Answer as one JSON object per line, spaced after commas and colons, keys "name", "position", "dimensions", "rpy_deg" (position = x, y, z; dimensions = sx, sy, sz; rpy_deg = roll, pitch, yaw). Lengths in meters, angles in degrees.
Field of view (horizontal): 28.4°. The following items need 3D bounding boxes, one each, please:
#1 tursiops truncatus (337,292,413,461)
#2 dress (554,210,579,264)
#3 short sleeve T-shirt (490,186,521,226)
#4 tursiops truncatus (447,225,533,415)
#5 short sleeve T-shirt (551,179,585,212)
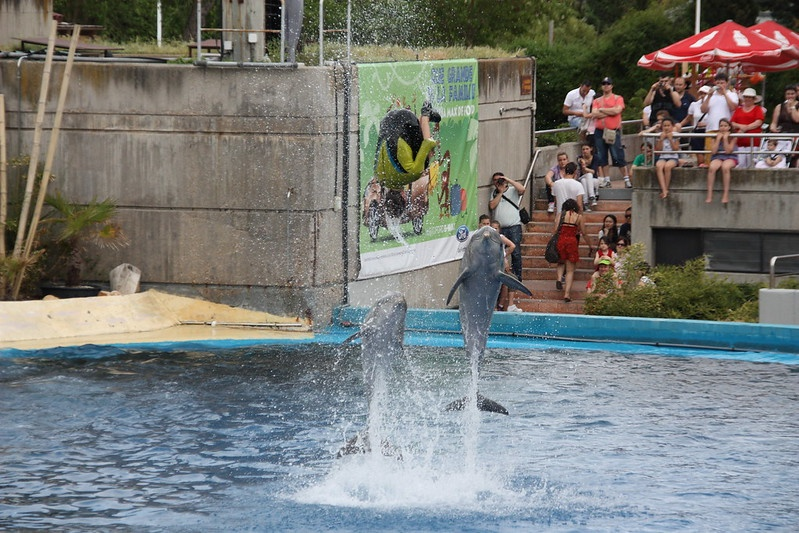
{"name": "tursiops truncatus", "position": [-0.473, 1.558, 26.250], "dimensions": [0.882, 3.056, 0.867], "rpy_deg": [12, 13, 3]}
{"name": "dress", "position": [3.734, -0.470, 35.351], "dimensions": [0.535, 1.632, 0.408], "rpy_deg": [2, 22, -5]}
{"name": "short sleeve T-shirt", "position": [2.476, -1.385, 36.760], "dimensions": [0.838, 1.171, 0.628], "rpy_deg": [0, -9, 15]}
{"name": "tursiops truncatus", "position": [1.382, 1.051, 27.004], "dimensions": [1.251, 3.336, 0.771], "rpy_deg": [4, 20, 3]}
{"name": "short sleeve T-shirt", "position": [3.920, -1.522, 36.903], "dimensions": [0.798, 0.843, 0.502], "rpy_deg": [3, -22, 14]}
